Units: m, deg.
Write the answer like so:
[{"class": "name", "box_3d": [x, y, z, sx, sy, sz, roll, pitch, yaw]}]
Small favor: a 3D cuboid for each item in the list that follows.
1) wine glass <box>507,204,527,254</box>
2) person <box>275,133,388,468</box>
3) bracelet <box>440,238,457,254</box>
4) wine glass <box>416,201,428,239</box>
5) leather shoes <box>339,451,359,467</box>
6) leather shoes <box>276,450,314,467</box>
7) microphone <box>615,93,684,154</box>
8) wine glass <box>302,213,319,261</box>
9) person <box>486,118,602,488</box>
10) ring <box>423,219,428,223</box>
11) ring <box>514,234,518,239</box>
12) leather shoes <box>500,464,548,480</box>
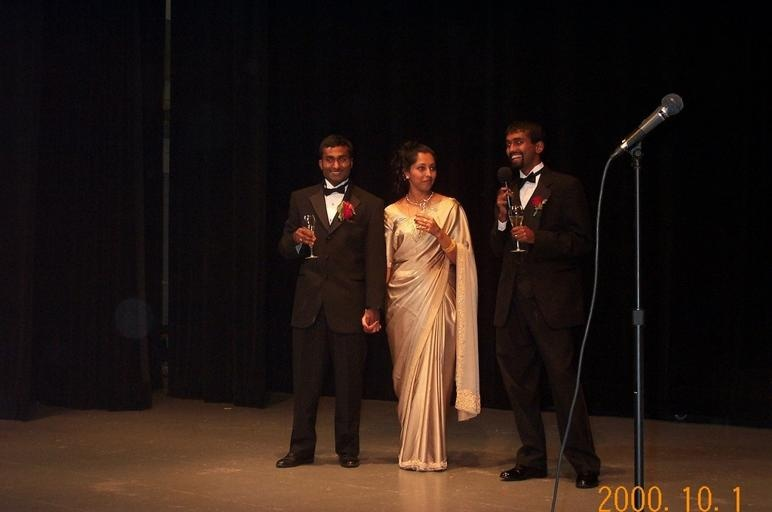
[{"class": "wine glass", "box_3d": [0.907, -0.177, 5.150, 0.118, 0.324, 0.373, 1, 7, 11]}, {"class": "person", "box_3d": [-0.379, 0.316, 5.543, 0.744, 2.384, 0.563, -1, 7, 0]}, {"class": "bracelet", "box_3d": [0.447, -0.080, 5.564, 0.098, 0.079, 0.124, 18, 16, -28]}, {"class": "wine glass", "box_3d": [0.279, -0.272, 5.623, 0.071, 0.270, 0.078, 2, -12, 13]}, {"class": "leather shoes", "box_3d": [-0.261, 1.480, 5.477, 0.153, 0.092, 0.144, -2, 7, -10]}, {"class": "leather shoes", "box_3d": [-0.652, 1.488, 5.531, 0.290, 0.125, 0.105, 6, -5, -26]}, {"class": "microphone", "box_3d": [1.571, -0.785, 4.418, 0.297, 0.335, 0.304, -5, 8, -32]}, {"class": "wine glass", "box_3d": [-0.562, -0.138, 5.506, 0.112, 0.332, 0.289, -1, 7, -6]}, {"class": "person", "box_3d": [1.125, 0.297, 5.267, 0.750, 2.483, 0.701, 0, 7, 8]}, {"class": "ring", "box_3d": [0.288, -0.255, 5.398, 0.031, 0.022, 0.017, 2, 0, -17]}, {"class": "ring", "box_3d": [0.880, -0.127, 5.067, 0.031, 0.033, 0.030, -1, 7, 0]}, {"class": "leather shoes", "box_3d": [0.950, 1.502, 5.278, 0.342, 0.148, 0.118, 4, -8, -10]}]
